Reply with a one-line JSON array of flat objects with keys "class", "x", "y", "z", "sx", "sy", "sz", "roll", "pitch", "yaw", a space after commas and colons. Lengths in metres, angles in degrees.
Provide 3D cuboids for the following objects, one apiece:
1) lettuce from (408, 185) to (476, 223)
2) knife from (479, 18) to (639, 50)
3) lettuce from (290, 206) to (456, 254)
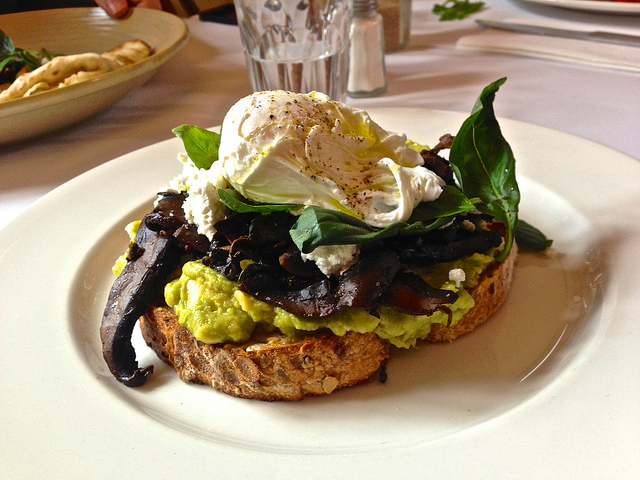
[{"class": "lettuce", "x": 0.486, "y": -0.130, "z": 2.318, "sx": 0.278, "sy": 0.038, "sz": 0.118, "roll": -23, "pitch": 57, "yaw": -15}, {"class": "knife", "x": 1.679, "y": -1.554, "z": 4.167, "sx": 1.156, "sy": 0.111, "sz": 0.279, "roll": 18, "pitch": 14, "yaw": 27}, {"class": "lettuce", "x": 0.205, "y": -0.022, "z": 2.266, "sx": 0.664, "sy": 0.191, "sz": 0.161, "roll": 1, "pitch": 85, "yaw": -20}]
